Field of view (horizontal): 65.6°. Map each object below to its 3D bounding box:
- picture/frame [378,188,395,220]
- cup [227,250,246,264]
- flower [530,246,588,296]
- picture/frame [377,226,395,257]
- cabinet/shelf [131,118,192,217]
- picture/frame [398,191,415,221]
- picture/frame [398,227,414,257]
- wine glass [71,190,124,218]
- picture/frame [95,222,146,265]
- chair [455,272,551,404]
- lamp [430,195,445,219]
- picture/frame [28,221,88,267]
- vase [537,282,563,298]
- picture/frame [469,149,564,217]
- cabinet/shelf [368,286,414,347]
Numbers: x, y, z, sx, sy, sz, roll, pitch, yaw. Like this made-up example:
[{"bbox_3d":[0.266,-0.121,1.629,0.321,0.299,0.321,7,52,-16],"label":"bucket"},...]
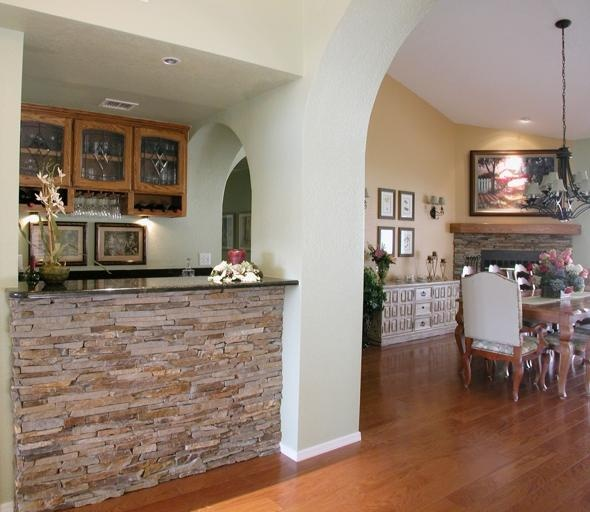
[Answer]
[{"bbox_3d":[1.410,-0.812,7.089,0.477,0.548,0.038,-1,1,-41],"label":"picture/frame"},{"bbox_3d":[-0.437,-0.003,3.426,0.105,0.103,0.108,2,7,0],"label":"cup"},{"bbox_3d":[3.163,0.218,5.482,0.630,0.675,0.559,0,0,-35],"label":"flower"},{"bbox_3d":[1.381,-0.226,7.010,0.038,0.545,0.449,-2,0,43],"label":"picture/frame"},{"bbox_3d":[-1.382,-0.843,4.678,0.543,0.919,0.264,3,-11,-24],"label":"cabinet/shelf"},{"bbox_3d":[1.782,-0.815,7.371,0.476,0.588,0.041,0,1,-42],"label":"picture/frame"},{"bbox_3d":[1.779,-0.228,7.383,0.446,0.533,0.035,-1,1,-43],"label":"picture/frame"},{"bbox_3d":[-1.927,-0.505,4.508,0.413,0.227,0.279,1,4,-34],"label":"wine glass"},{"bbox_3d":[-1.821,-0.131,4.731,0.418,0.421,0.030,-1,3,-31],"label":"picture/frame"},{"bbox_3d":[2.174,0.744,4.794,0.807,1.281,0.766,-7,9,-23],"label":"chair"},{"bbox_3d":[2.419,-0.836,7.804,0.384,0.410,0.205,-2,3,-34],"label":"lamp"},{"bbox_3d":[-2.029,-0.104,3.894,0.428,0.422,0.031,-1,0,-37],"label":"picture/frame"},{"bbox_3d":[3.027,0.394,5.394,0.171,0.113,0.170,-3,3,-41],"label":"vase"},{"bbox_3d":[3.481,-1.156,7.143,1.331,1.196,0.100,0,0,11],"label":"picture/frame"},{"bbox_3d":[1.337,0.856,6.519,0.797,0.786,0.303,-3,3,-43],"label":"cabinet/shelf"}]
